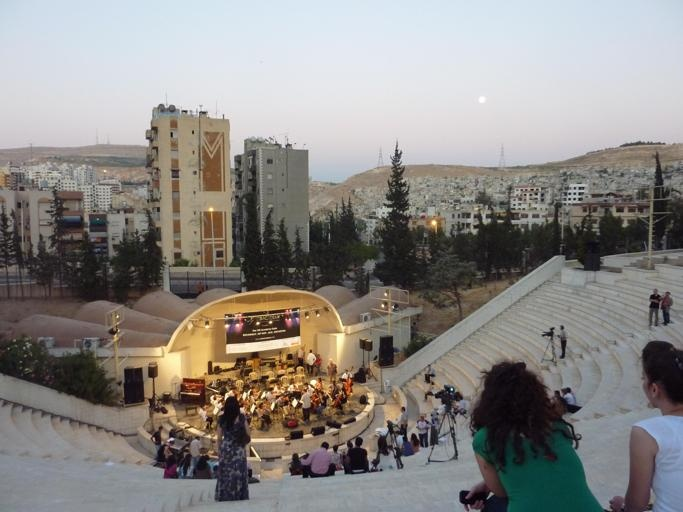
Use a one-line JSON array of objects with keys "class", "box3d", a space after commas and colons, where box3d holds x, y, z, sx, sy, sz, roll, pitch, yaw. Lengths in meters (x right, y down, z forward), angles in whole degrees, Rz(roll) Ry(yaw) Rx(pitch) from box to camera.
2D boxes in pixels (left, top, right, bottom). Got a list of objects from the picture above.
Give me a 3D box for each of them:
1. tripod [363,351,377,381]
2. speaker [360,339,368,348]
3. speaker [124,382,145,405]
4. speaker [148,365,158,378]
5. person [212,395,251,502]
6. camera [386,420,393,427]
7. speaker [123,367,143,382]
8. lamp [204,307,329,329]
[{"class": "tripod", "box3d": [1.424, 5.495, 40.519, 1.015, 1.339, 0.951, -3, 7, 9]}, {"class": "speaker", "box3d": [1.096, 4.319, 40.296, 0.214, 0.386, 0.410, -5, 8, -29]}, {"class": "speaker", "box3d": [-8.958, 5.934, 35.386, 1.004, 0.943, 0.495, 1, 1, -12]}, {"class": "speaker", "box3d": [-8.260, 5.060, 36.001, 0.357, 0.612, 0.458, -7, 16, -32]}, {"class": "person", "box3d": [-3.171, 5.572, 23.437, 0.956, 2.887, 0.904, 1, 1, -24]}, {"class": "camera", "box3d": [1.797, 6.331, 30.843, 0.216, 0.272, 0.257, -3, -11, -6]}, {"class": "speaker", "box3d": [-8.997, 5.174, 35.543, 0.753, 0.667, 0.308, -2, 3, -13]}, {"class": "lamp", "box3d": [-3.825, 2.968, 39.597, 5.574, 0.773, 0.749, -4, -13, -20]}]
